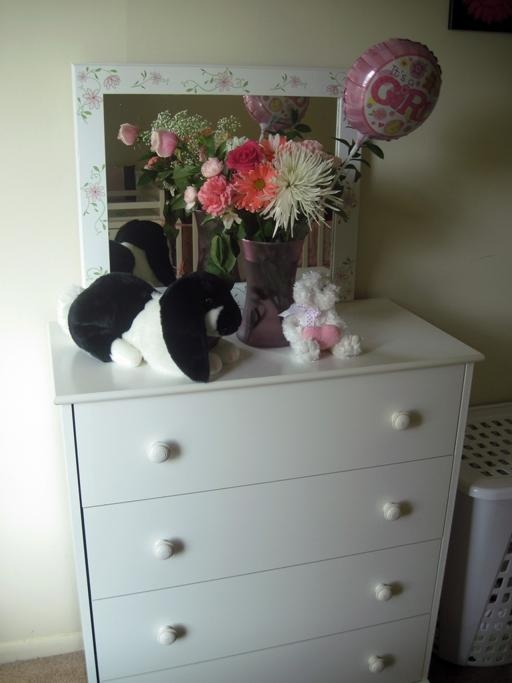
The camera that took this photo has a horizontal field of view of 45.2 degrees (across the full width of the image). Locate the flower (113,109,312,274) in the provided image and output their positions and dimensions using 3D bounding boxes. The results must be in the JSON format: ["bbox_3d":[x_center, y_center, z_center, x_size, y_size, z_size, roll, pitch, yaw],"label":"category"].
[{"bbox_3d":[-0.111,-0.306,1.211,0.249,0.225,0.235,4,25,-8],"label":"flower"}]

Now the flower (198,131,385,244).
[{"bbox_3d":[0.052,-0.262,1.170,0.258,0.191,0.301,19,21,42],"label":"flower"}]

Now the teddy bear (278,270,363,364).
[{"bbox_3d":[0.122,-0.044,1.207,0.165,0.174,0.113,-19,35,-22],"label":"teddy bear"}]

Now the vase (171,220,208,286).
[{"bbox_3d":[-0.144,-0.200,1.346,0.097,0.135,0.092,0,-6,14],"label":"vase"}]

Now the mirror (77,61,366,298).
[{"bbox_3d":[-0.098,-0.338,1.230,0.628,0.545,0.012,-1,6,-16],"label":"mirror"}]

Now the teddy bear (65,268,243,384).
[{"bbox_3d":[-0.182,-0.042,1.122,0.276,0.177,0.157,10,22,24],"label":"teddy bear"}]
